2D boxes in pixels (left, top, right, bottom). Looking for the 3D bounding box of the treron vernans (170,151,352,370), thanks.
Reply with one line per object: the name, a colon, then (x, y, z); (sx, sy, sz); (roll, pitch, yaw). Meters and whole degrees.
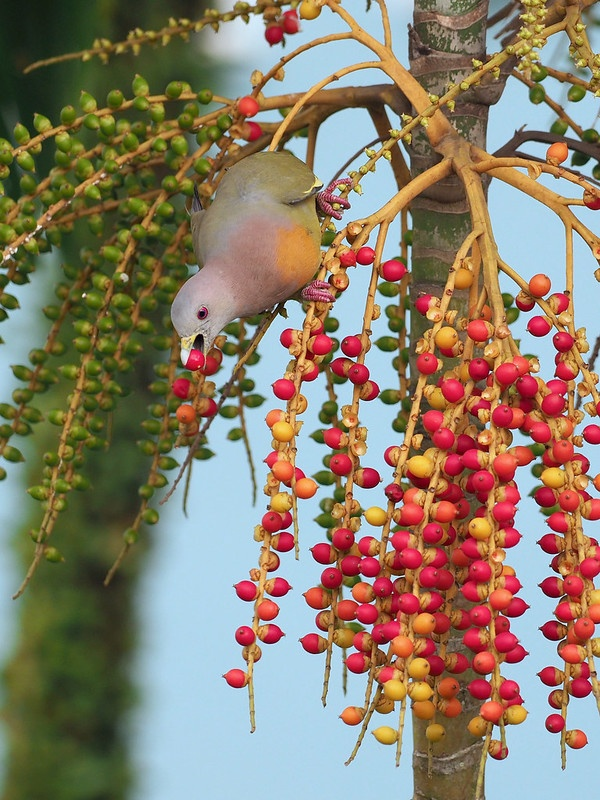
treron vernans: (-0.036, -0.211, 2.576); (0.199, 0.104, 0.199); (-29, 40, -7)
